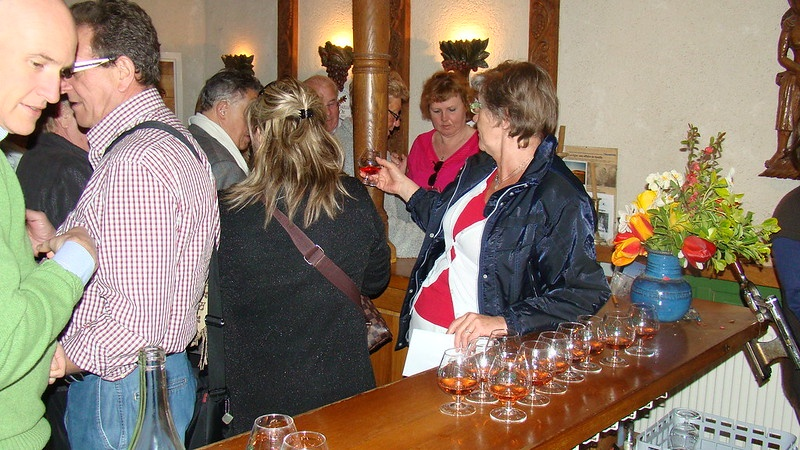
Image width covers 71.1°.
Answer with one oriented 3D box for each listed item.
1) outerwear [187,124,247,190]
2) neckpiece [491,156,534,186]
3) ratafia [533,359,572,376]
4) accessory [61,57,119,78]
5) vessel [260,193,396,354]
[{"bbox_3d":[-0.964,-0.361,2.946,0.205,0.329,0.368,-38,28,-13],"label":"outerwear"},{"bbox_3d":[0.579,-0.284,2.943,0.176,0.043,0.132,-48,31,-17],"label":"neckpiece"},{"bbox_3d":[0.619,0.581,2.318,0.120,0.067,0.119,0,2,7],"label":"ratafia"},{"bbox_3d":[-1.271,-0.656,2.297,0.146,0.044,0.154,6,27,44],"label":"accessory"},{"bbox_3d":[-0.368,0.231,2.683,0.616,0.584,0.424,-30,60,-35],"label":"vessel"}]
